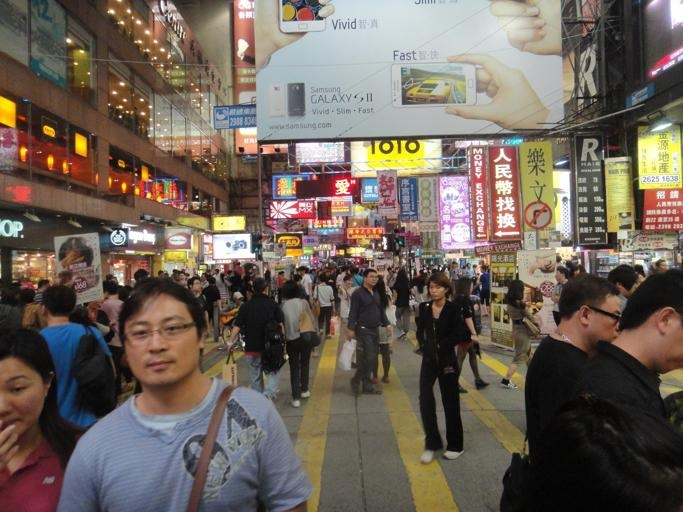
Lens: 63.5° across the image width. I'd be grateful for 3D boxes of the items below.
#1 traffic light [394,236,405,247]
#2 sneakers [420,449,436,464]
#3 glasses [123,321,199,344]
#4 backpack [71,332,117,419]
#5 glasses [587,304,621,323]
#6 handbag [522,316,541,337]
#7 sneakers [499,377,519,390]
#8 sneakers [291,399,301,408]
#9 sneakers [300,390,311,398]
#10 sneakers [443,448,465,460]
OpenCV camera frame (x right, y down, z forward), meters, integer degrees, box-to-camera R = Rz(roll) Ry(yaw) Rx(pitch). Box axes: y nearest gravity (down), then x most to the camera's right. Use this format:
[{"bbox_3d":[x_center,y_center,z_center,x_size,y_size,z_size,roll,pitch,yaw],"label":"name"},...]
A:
[{"bbox_3d":[2.183,-0.511,20.941,0.352,0.580,0.371,-2,4,14],"label":"traffic light"},{"bbox_3d":[0.954,2.260,6.170,0.088,0.121,0.188,-1,1,42],"label":"sneakers"},{"bbox_3d":[-0.988,0.424,3.001,0.349,0.086,0.060,-2,1,-10],"label":"glasses"},{"bbox_3d":[-2.076,0.999,4.671,0.218,0.635,0.453,-9,-29,6],"label":"backpack"},{"bbox_3d":[1.831,0.405,3.842,0.129,0.042,0.132,22,0,14],"label":"glasses"},{"bbox_3d":[3.092,1.175,9.013,0.123,0.304,0.232,-29,31,10],"label":"handbag"},{"bbox_3d":[2.781,2.120,9.172,0.383,0.256,0.140,-2,3,-23],"label":"sneakers"},{"bbox_3d":[-0.703,2.274,8.413,0.074,0.108,0.123,5,-13,-29],"label":"sneakers"},{"bbox_3d":[-0.588,2.266,8.949,0.062,0.085,0.186,1,4,14],"label":"sneakers"},{"bbox_3d":[1.247,2.271,6.252,0.211,0.099,0.091,11,-14,-34],"label":"sneakers"}]
